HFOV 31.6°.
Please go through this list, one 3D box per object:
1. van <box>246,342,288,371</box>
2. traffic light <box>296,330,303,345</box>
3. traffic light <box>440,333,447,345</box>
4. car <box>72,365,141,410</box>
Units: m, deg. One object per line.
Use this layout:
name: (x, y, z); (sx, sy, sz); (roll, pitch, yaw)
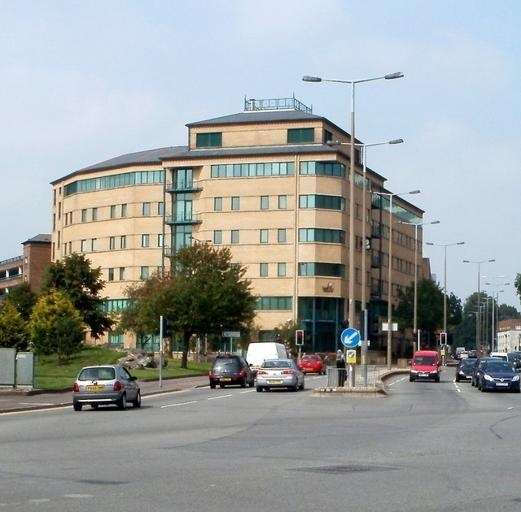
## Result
van: (0.267, 5.689, 51.123); (1.183, 1.241, 2.177); (-1, -3, 9)
traffic light: (2.832, 5.983, 66.488); (0.512, 1.035, 1.911); (-1, -10, -2)
traffic light: (16.120, 7.376, 80.607); (0.529, 0.942, 1.913); (-2, -10, 9)
car: (-4.791, 4.110, 28.443); (2.022, 1.399, 1.462); (3, -11, -25)
